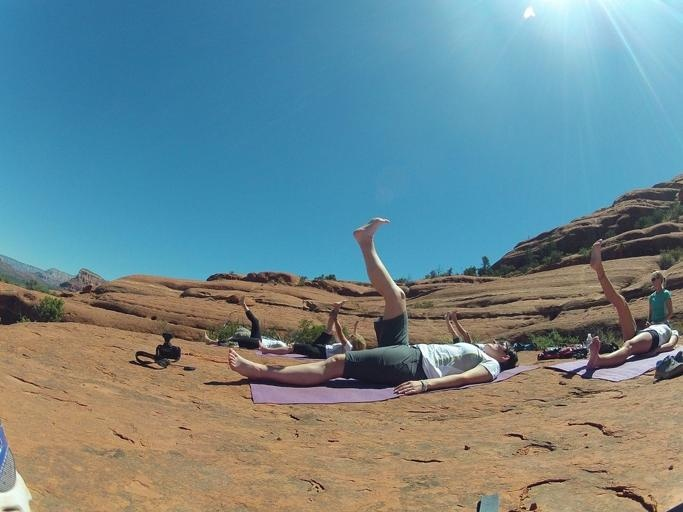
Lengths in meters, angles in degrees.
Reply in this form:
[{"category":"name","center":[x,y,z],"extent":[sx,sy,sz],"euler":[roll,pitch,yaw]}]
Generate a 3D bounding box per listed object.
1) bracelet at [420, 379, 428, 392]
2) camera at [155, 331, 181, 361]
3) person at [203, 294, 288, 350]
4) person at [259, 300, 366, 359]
[{"category":"bracelet","center":[1.030,1.639,6.896],"extent":[0.034,0.105,0.104],"euler":[-18,26,-19]},{"category":"camera","center":[-2.340,1.257,7.669],"extent":[0.372,0.410,0.402],"euler":[2,2,-13]},{"category":"person","center":[-1.829,1.352,10.405],"extent":[1.564,0.945,0.566],"euler":[12,-2,-24]},{"category":"person","center":[-0.312,1.281,9.274],"extent":[2.136,1.287,0.842],"euler":[-2,-11,-4]}]
